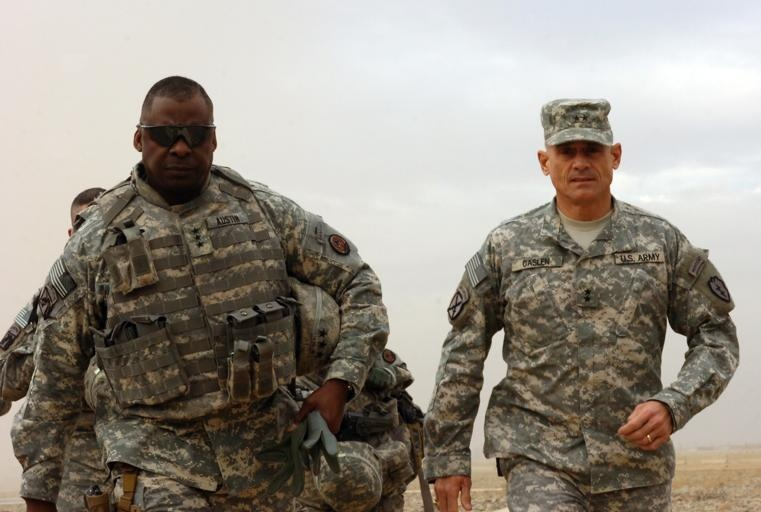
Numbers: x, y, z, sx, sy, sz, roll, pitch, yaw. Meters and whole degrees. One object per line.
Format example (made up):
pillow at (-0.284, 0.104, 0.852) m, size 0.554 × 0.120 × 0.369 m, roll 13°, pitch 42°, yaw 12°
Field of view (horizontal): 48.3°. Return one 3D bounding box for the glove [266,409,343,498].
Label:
glove at (-0.448, 1.273, 5.400) m, size 0.492 × 0.496 × 0.173 m, roll 23°, pitch -3°, yaw 19°

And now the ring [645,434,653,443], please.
ring at (1.635, 1.117, 5.185) m, size 0.045 × 0.044 × 0.010 m, roll -4°, pitch -4°, yaw -5°

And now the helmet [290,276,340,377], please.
helmet at (-0.570, 0.486, 5.733) m, size 0.423 × 0.562 × 0.526 m, roll -1°, pitch 3°, yaw -11°
